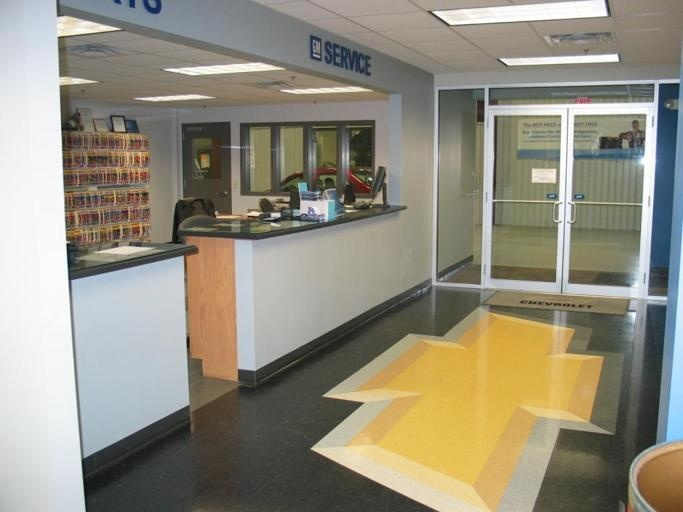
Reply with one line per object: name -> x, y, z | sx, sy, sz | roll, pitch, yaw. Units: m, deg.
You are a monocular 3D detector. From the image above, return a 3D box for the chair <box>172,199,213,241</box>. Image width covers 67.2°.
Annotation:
chair -> -2.552, -0.619, 8.881 | 0.742, 0.838, 0.585 | -2, 15, -24
